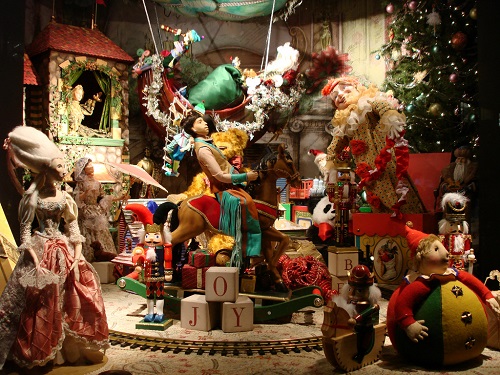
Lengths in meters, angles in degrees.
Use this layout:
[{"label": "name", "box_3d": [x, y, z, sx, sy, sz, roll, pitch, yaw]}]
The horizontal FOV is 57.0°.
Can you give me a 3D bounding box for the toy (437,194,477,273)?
[{"label": "toy", "box_3d": [1.691, 0.396, 3.758, 0.268, 0.707, 0.711, 2, 6, 26]}]
